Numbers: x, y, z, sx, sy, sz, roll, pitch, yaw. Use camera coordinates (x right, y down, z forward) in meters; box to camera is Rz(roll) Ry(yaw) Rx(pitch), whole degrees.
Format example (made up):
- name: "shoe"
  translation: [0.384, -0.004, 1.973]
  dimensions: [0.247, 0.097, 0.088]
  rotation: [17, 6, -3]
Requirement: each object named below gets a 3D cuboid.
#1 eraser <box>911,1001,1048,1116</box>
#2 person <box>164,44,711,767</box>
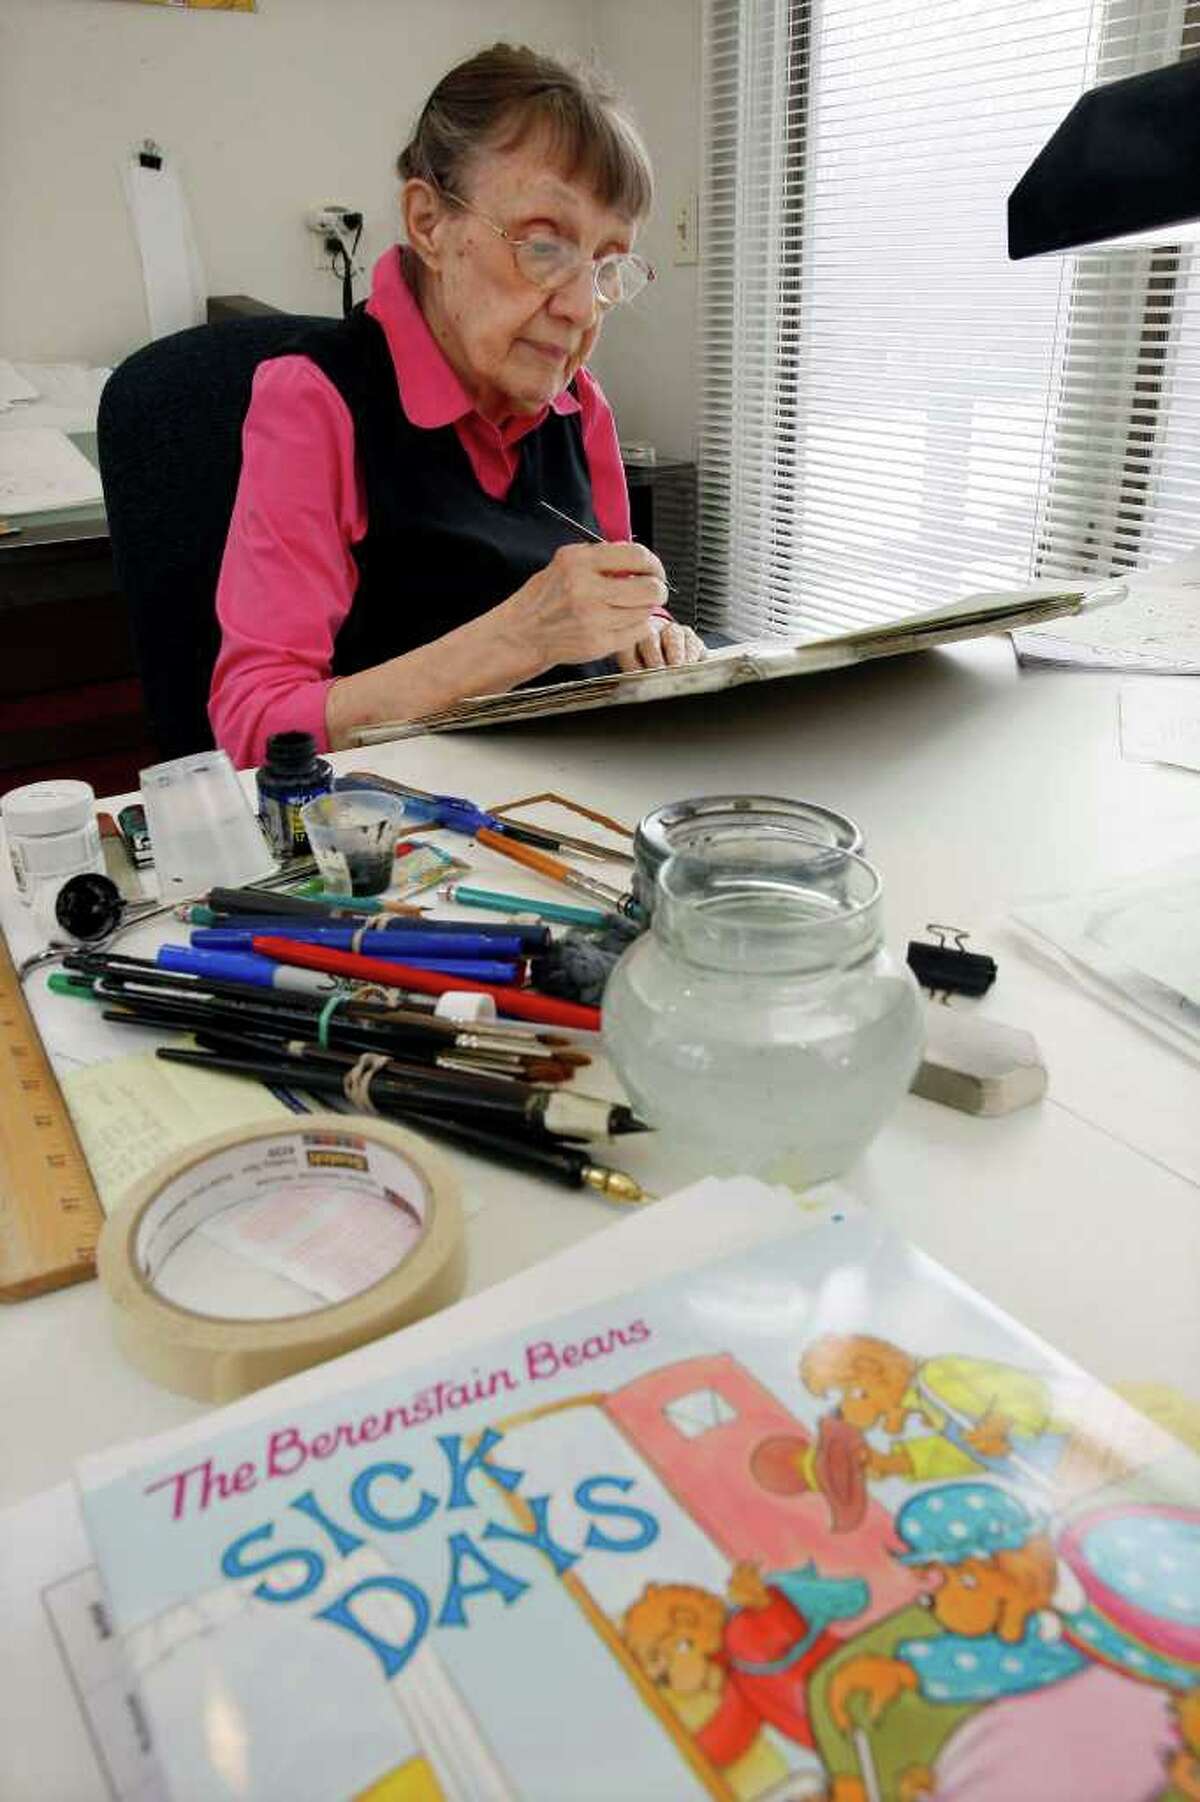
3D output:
- name: "eraser"
  translation: [0.147, 0.063, 0.536]
  dimensions: [0.055, 0.029, 0.059]
  rotation: [6, 18, 1]
- name: "person"
  translation: [-0.129, -0.292, 1.220]
  dimensions: [0.440, 0.733, 0.384]
  rotation: [-10, 30, -32]
